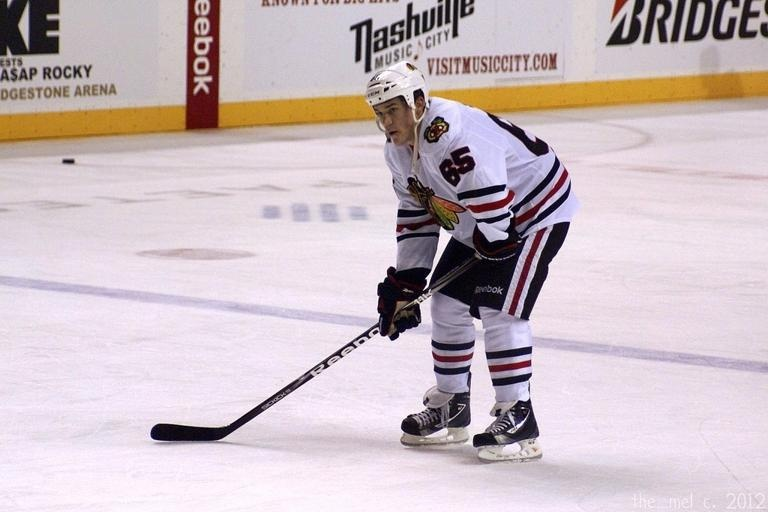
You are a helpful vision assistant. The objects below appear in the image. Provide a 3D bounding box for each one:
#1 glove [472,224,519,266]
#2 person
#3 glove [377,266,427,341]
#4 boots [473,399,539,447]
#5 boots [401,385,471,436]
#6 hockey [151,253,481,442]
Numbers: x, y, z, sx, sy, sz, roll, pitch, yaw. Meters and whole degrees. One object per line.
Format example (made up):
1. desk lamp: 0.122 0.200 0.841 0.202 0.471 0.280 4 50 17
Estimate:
1. glove: 0.371 -0.035 3.170 0.130 0.078 0.160 13 19 34
2. person: 0.294 0.018 3.261 0.677 1.373 0.446 1 13 14
3. glove: 0.045 0.171 3.399 0.246 0.235 0.121 10 -3 -7
4. boots: 0.422 0.576 3.208 0.217 0.144 0.133 0 11 8
5. boots: 0.183 0.561 3.413 0.351 0.160 0.128 2 1 -38
6. hockey: -0.289 0.404 3.928 1.300 0.095 0.138 -28 53 -8
